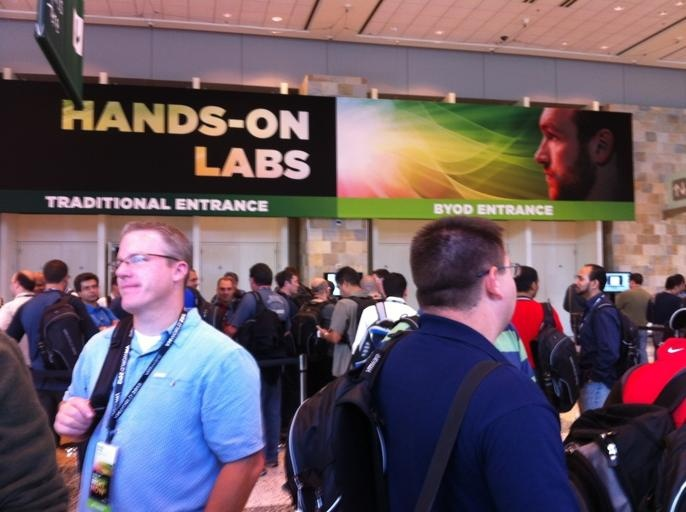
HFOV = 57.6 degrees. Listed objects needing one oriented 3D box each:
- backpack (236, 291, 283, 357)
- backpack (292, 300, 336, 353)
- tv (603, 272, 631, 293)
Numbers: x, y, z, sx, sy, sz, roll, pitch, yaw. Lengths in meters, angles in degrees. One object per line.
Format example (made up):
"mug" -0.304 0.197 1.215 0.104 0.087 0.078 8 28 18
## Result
"backpack" -0.728 0.661 5.525 0.523 0.518 0.366 -16 -20 42
"backpack" -0.340 0.696 6.111 0.331 0.477 0.480 -4 -9 29
"tv" 4.725 0.453 10.725 0.548 0.410 0.059 1 -11 2
